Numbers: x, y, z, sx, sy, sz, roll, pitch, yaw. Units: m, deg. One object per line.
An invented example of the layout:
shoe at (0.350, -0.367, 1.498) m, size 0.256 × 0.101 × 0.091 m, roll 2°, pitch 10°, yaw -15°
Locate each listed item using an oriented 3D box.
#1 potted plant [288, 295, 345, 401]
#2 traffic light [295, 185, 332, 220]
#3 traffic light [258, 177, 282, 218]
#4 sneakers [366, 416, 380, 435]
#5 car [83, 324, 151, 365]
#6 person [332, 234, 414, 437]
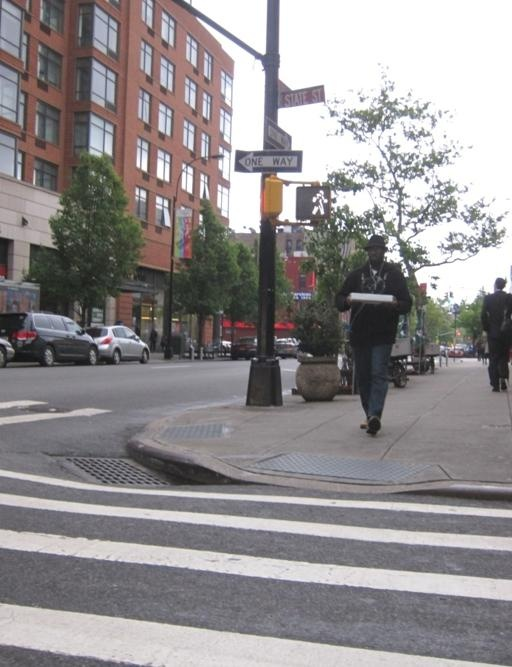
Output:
potted plant at (1.031, 0.132, 11.519) m, size 0.666 × 1.758 × 0.661 m, roll 2°, pitch 0°, yaw -34°
traffic light at (0.762, -1.746, 9.855) m, size 0.445 × 0.493 × 0.223 m, roll 0°, pitch 0°, yaw 4°
traffic light at (0.210, -1.857, 9.947) m, size 0.309 × 0.626 × 0.361 m, roll 0°, pitch 0°, yaw 8°
sneakers at (1.078, 0.845, 6.807) m, size 0.098 × 0.169 × 0.179 m, roll 0°, pitch 0°, yaw -2°
car at (-5.295, 0.438, 28.089) m, size 1.049 × 1.265 × 2.394 m, roll -1°, pitch 2°, yaw 21°
person at (1.120, -0.013, 7.083) m, size 0.724 × 1.937 × 0.758 m, roll 0°, pitch 0°, yaw 14°
